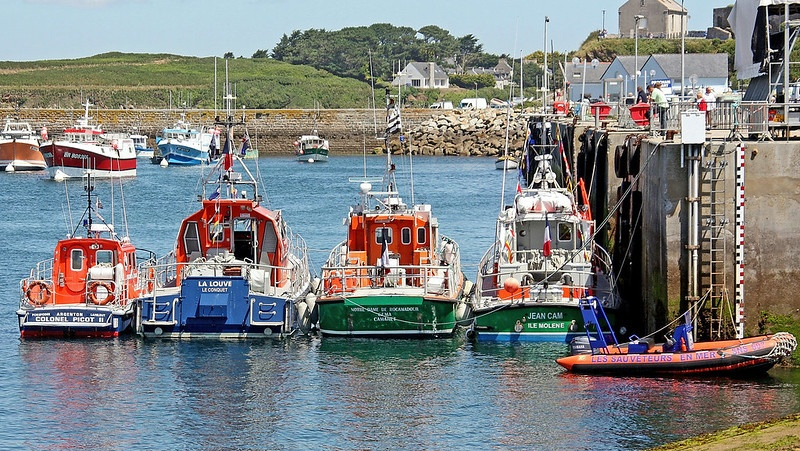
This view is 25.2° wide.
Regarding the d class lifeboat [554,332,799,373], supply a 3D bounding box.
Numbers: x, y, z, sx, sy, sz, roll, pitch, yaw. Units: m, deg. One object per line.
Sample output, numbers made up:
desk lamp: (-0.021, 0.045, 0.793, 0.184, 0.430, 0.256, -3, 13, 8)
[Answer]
d class lifeboat: (14.041, 6.587, 89.026, 10.036, 1.870, 3.588, -3, -7, 10)
